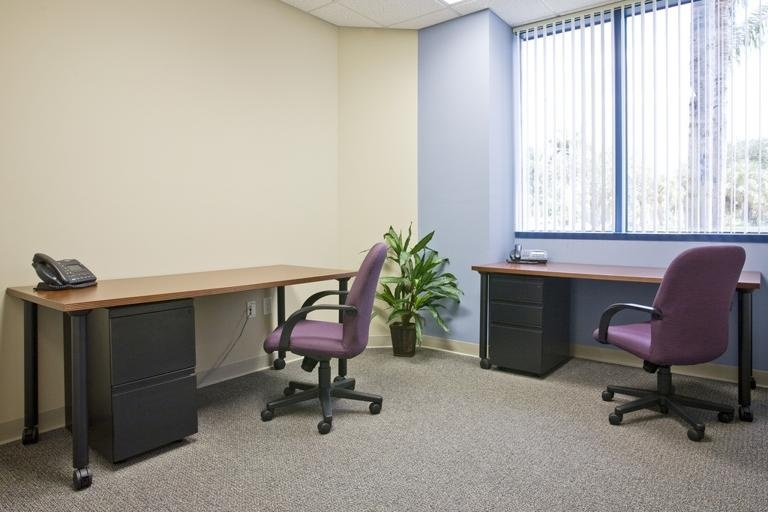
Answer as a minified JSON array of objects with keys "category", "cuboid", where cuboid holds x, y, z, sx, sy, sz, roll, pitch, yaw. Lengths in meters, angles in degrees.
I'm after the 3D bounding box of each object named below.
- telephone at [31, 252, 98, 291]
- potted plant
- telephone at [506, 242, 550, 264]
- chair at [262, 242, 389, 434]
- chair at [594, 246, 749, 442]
[{"category":"telephone","cuboid":[-2.151,0.088,3.666,0.367,0.156,0.358,17,11,12]},{"category":"potted plant","cuboid":[0.268,0.334,5.265,1.030,1.206,0.889,2,5,-1]},{"category":"telephone","cuboid":[1.352,-0.037,5.168,0.302,0.155,0.210,-1,3,13]},{"category":"chair","cuboid":[-0.462,0.561,4.146,0.918,1.213,0.867,0,5,13]},{"category":"chair","cuboid":[2.111,0.577,4.103,0.992,1.247,1.002,-1,3,12]}]
